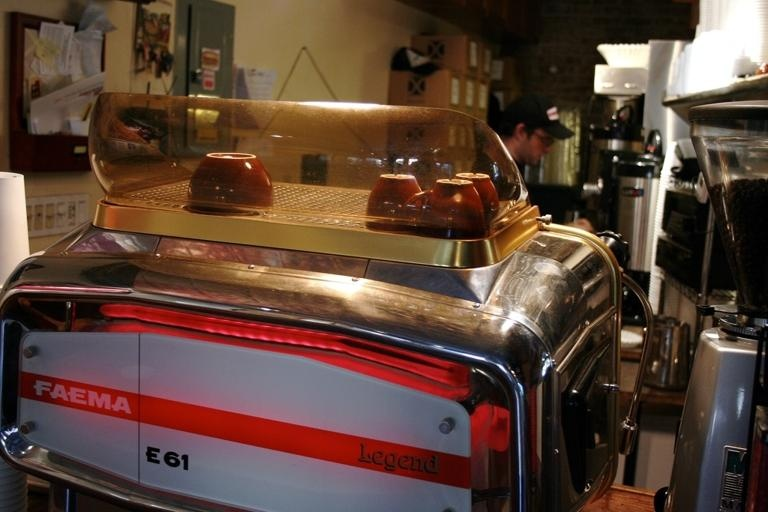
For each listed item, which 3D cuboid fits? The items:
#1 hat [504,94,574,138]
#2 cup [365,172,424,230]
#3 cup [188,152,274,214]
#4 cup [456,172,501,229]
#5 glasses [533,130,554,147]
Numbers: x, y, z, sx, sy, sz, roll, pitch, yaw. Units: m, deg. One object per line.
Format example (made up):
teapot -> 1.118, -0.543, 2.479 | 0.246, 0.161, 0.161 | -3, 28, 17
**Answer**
hat -> 0.790, -0.703, 3.327 | 0.325, 0.183, 0.216 | 7, 23, 13
cup -> 0.017, -0.086, 1.019 | 0.083, 0.076, 0.085 | 1, 5, 0
cup -> -0.246, -0.119, 1.036 | 0.103, 0.067, 0.104 | 1, 6, 0
cup -> 0.161, -0.096, 1.042 | 0.077, 0.074, 0.072 | -1, 5, 0
glasses -> 0.839, -0.599, 3.318 | 0.096, 0.069, 0.151 | -6, 16, -43
